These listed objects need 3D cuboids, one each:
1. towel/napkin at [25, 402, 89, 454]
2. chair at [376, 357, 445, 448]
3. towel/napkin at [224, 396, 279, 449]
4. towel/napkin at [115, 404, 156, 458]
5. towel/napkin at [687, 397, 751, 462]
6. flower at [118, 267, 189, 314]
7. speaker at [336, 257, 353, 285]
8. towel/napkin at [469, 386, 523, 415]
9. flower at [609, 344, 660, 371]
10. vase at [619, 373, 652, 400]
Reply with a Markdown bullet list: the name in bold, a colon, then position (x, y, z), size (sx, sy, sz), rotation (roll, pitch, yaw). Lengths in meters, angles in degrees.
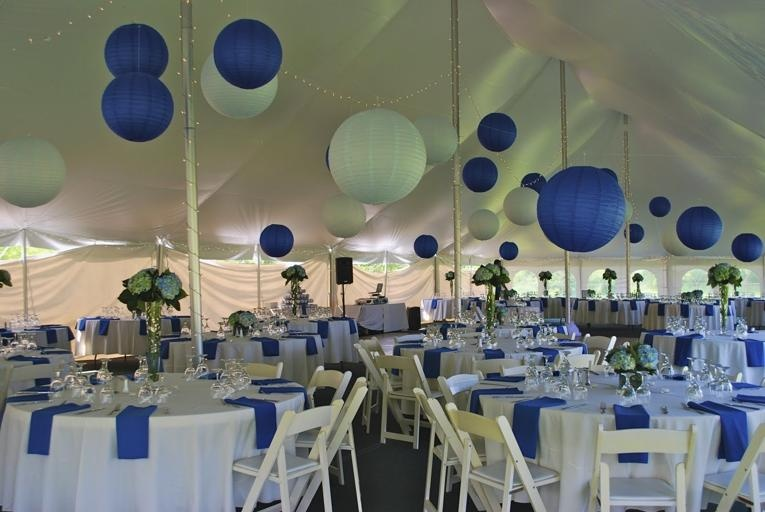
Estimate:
- **towel/napkin**: position (-2.914, 1.495, 6.036), size (0.353, 0.195, 0.394), rotation (7, -8, 7)
- **chair**: position (0.320, 1.711, 8.250), size (0.768, 1.093, 0.946), rotation (1, -3, 10)
- **towel/napkin**: position (-1.233, 1.514, 6.286), size (0.488, 0.390, 0.299), rotation (2, 2, 36)
- **towel/napkin**: position (-2.160, 1.524, 5.973), size (0.251, 0.143, 0.495), rotation (7, 32, -20)
- **towel/napkin**: position (3.068, 1.534, 6.151), size (0.260, 0.485, 0.489), rotation (3, 6, 8)
- **flower**: position (-2.164, 0.260, 6.754), size (0.608, 0.278, 0.653), rotation (-19, 21, -29)
- **speaker**: position (-0.848, 0.323, 15.002), size (0.349, 0.623, 0.493), rotation (-1, -9, -6)
- **towel/napkin**: position (1.031, 1.326, 6.499), size (0.351, 0.230, 0.264), rotation (1, -2, 7)
- **flower**: position (2.338, 0.949, 6.444), size (0.265, 0.281, 0.349), rotation (2, -4, -11)
- **vase**: position (2.273, 1.170, 6.215), size (0.234, 0.233, 0.243), rotation (1, -7, -15)
